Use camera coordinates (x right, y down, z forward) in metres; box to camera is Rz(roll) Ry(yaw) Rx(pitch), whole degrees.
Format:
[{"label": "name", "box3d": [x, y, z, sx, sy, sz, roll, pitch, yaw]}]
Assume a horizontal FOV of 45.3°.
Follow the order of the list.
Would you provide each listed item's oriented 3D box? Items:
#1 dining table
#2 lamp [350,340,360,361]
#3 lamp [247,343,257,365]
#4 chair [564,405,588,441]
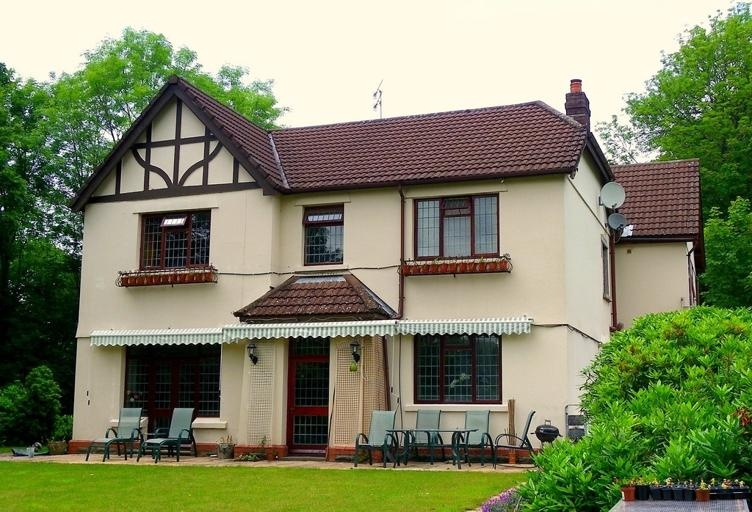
[{"label": "dining table", "box3d": [2.042, 7.090, 33.389, 3.248, 1.718, 3.257, -2, -16, 9]}, {"label": "lamp", "box3d": [-0.826, 3.679, 34.846, 0.415, 0.817, 0.322, -1, -16, 6]}, {"label": "lamp", "box3d": [-4.933, 3.863, 35.710, 0.349, 0.831, 0.422, -7, -17, 24]}, {"label": "chair", "box3d": [7.467, 6.241, 33.828, 0.872, 1.412, 0.857, -5, 11, -4]}]
